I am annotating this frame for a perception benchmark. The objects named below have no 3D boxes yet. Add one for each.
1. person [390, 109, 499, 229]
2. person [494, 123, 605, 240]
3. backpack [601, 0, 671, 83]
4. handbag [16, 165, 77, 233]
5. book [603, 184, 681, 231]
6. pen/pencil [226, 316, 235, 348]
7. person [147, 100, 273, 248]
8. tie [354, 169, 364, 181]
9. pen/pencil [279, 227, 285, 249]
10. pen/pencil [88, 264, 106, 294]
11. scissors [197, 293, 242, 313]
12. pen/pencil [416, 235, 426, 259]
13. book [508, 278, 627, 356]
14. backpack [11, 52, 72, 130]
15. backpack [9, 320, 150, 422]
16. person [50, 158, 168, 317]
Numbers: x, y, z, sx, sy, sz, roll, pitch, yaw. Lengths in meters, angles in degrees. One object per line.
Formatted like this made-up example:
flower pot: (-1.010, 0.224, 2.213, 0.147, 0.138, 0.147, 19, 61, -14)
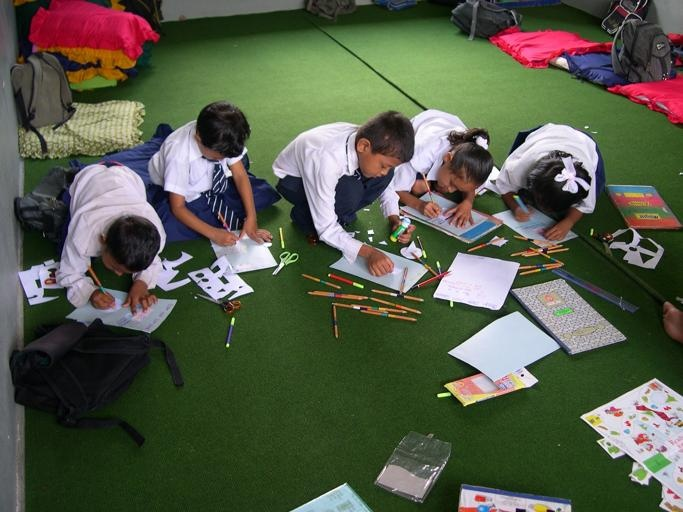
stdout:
person: (0.578, -0.563, 3.168, 0.534, 0.530, 0.905, 3, 27, -13)
person: (1.270, -0.460, 3.138, 0.622, 0.393, 0.923, 14, 35, 19)
backpack: (2.550, -1.683, 4.425, 0.538, 0.434, 0.386, 23, 38, 17)
handbag: (-1.593, -0.267, 2.887, 0.378, 0.163, 0.380, -8, 46, -10)
book: (1.795, -0.277, 3.132, 0.312, 0.086, 0.371, 7, 36, -4)
pen/pencil: (-0.511, 0.349, 2.439, 0.020, 0.018, 0.129, 36, 42, -17)
person: (-0.651, -0.436, 2.789, 0.721, 0.730, 0.505, -5, 38, -20)
tie: (0.092, -0.427, 2.789, 0.038, 0.049, 0.025, -7, 9, -15)
pen/pencil: (-0.327, -0.091, 2.915, 0.024, 0.024, 0.154, 48, 18, -31)
pen/pencil: (-1.189, 0.119, 2.565, 0.151, 0.016, 0.016, 63, 16, 8)
scissors: (-0.594, 0.225, 2.549, 0.153, 0.042, 0.088, 12, 25, -2)
pen/pencil: (0.436, -0.046, 2.870, 0.021, 0.021, 0.175, 29, 27, -35)
book: (1.080, 0.282, 2.524, 0.327, 0.078, 0.451, -10, 40, -25)
backpack: (-2.067, -1.131, 3.646, 0.348, 0.350, 0.557, -11, 40, -26)
backpack: (-1.076, 0.465, 2.182, 0.414, 0.135, 0.416, 16, 37, 10)
person: (-1.116, -0.192, 2.520, 0.427, 0.442, 0.811, -4, 62, -40)
